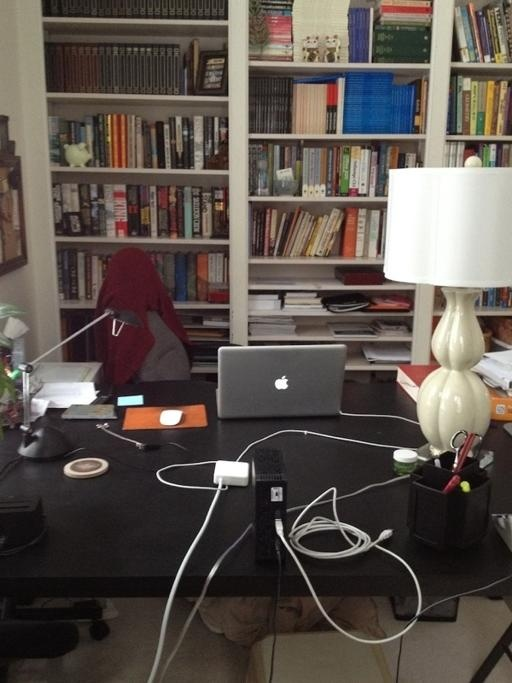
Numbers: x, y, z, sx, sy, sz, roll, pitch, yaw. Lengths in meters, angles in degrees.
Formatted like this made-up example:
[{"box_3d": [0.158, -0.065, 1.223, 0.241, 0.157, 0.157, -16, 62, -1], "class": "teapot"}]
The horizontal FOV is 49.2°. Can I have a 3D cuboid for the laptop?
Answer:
[{"box_3d": [0.080, 0.157, 1.501, 0.374, 0.237, 0.255, -1, 16, -5], "class": "laptop"}]

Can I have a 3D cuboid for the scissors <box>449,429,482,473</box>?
[{"box_3d": [0.429, 0.223, 1.150, 0.010, 0.109, 0.064, 25, -9, -26], "class": "scissors"}]

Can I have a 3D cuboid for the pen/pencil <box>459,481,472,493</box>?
[{"box_3d": [0.367, 0.256, 0.985, 0.013, 0.019, 0.019, -10, 0, 11], "class": "pen/pencil"}]
